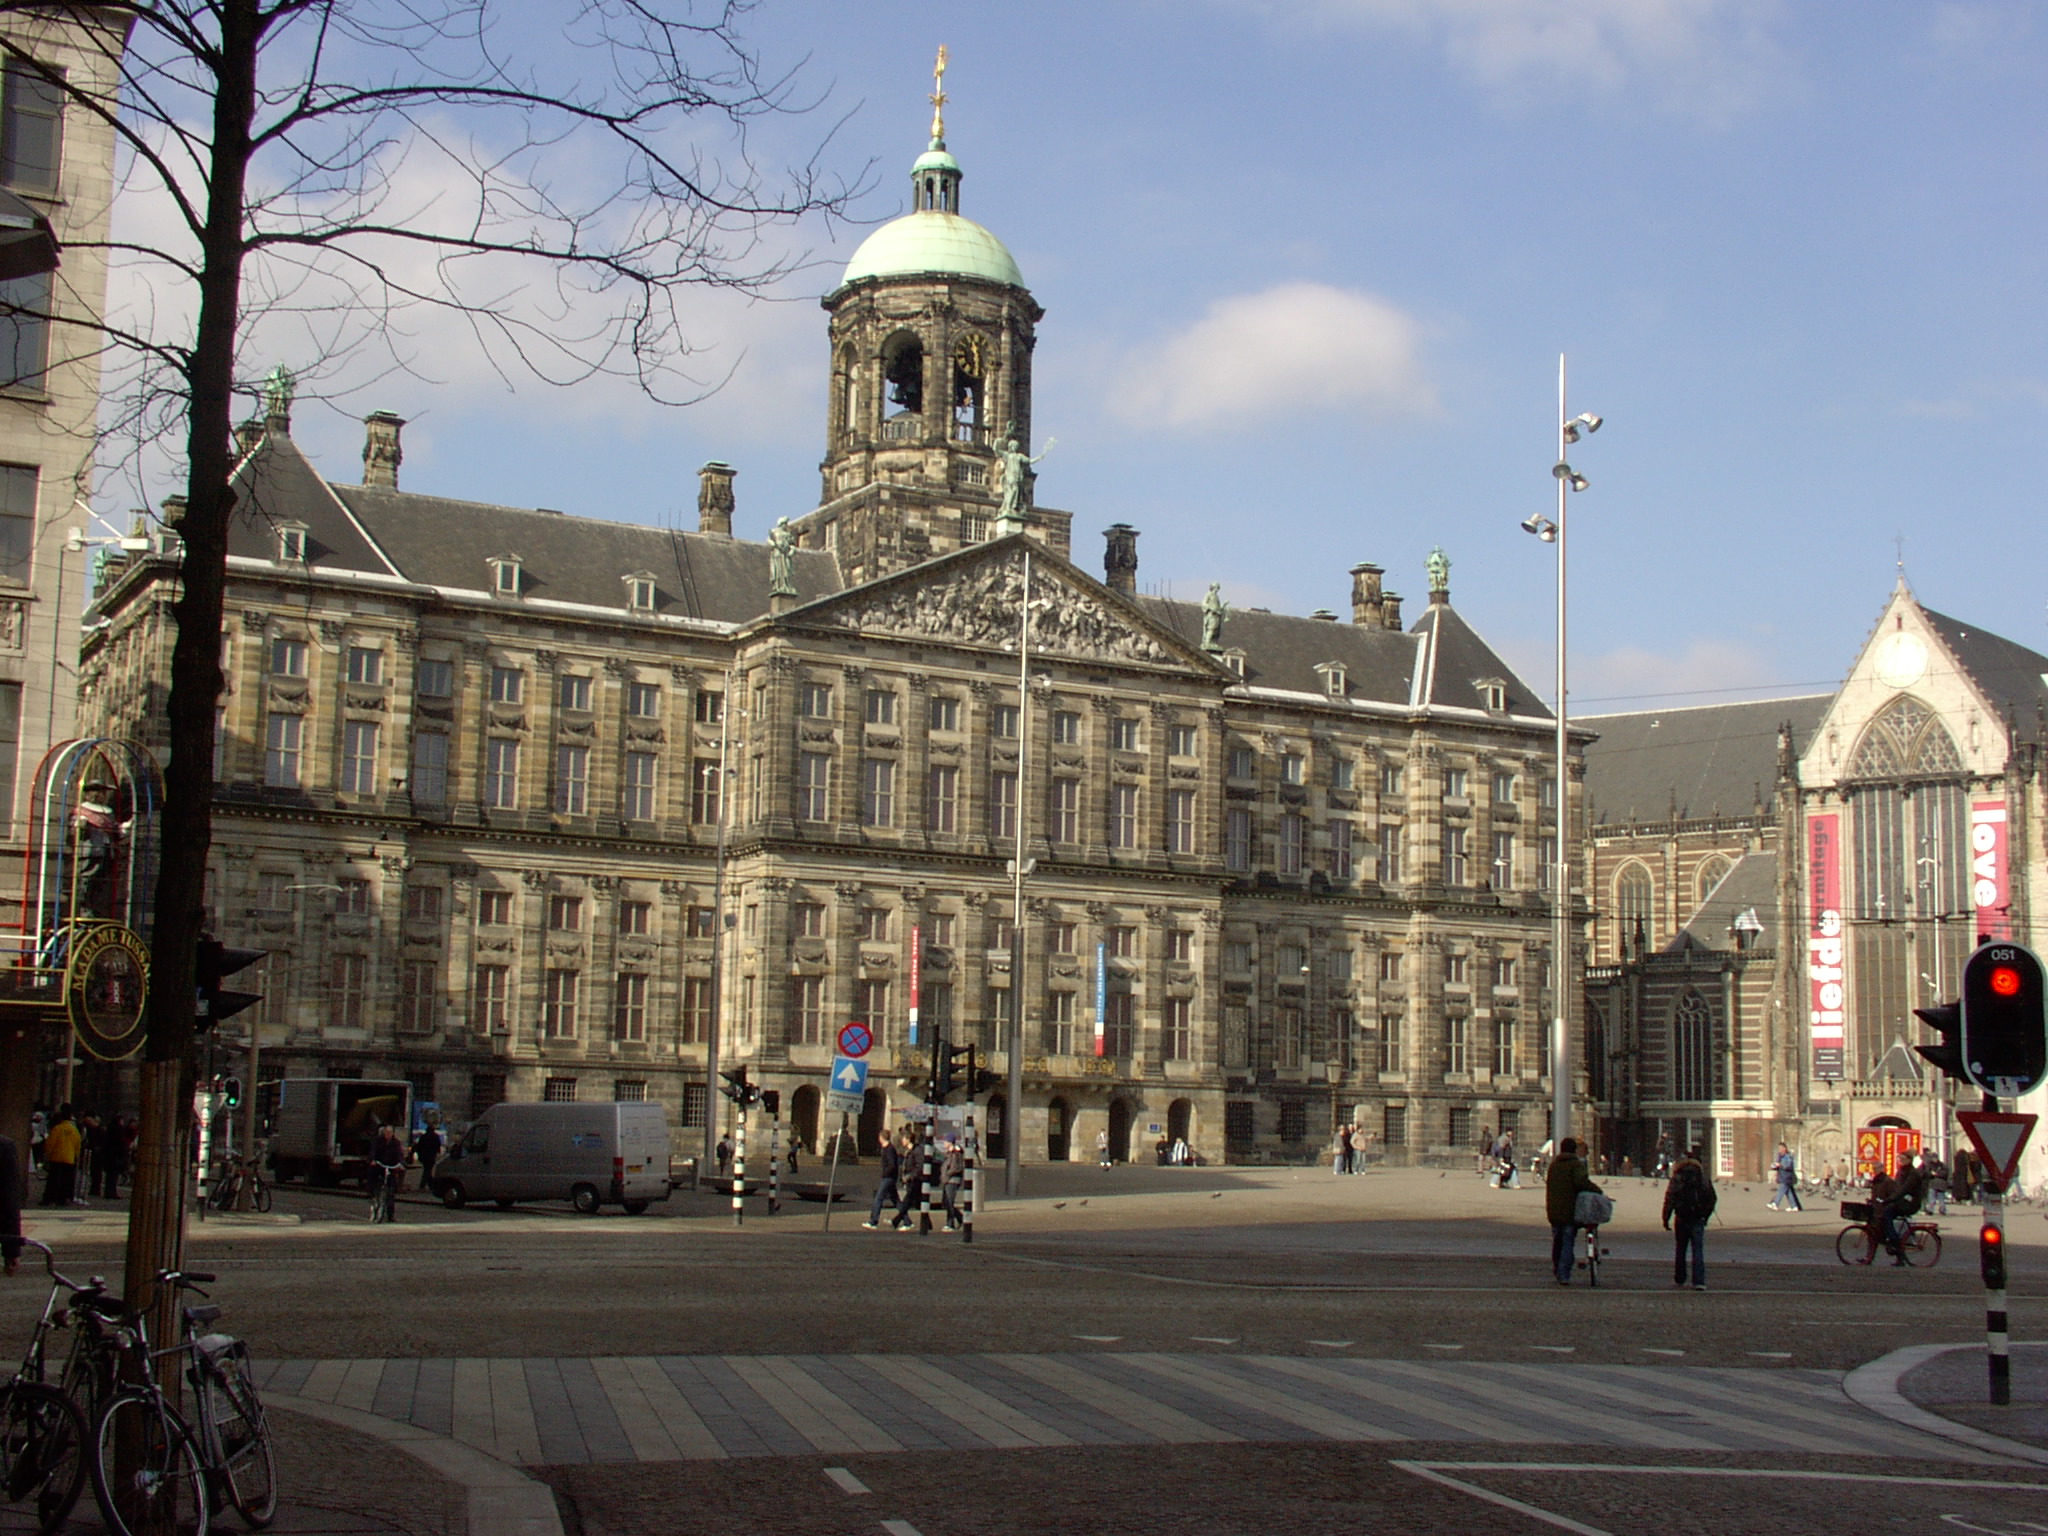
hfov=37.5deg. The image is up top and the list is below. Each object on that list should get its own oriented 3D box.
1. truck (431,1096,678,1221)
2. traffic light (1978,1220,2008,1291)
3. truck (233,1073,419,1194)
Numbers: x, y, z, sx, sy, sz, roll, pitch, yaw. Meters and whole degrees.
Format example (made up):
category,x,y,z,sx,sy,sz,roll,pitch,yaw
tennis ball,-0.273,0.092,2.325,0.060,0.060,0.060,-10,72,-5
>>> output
category,x,y,z,sx,sy,sz,roll,pitch,yaw
truck,-9.593,8.042,62.529,4.736,1.997,2.295,-2,-7,25
traffic light,9.550,4.774,29.551,0.174,0.622,0.394,-4,-11,27
truck,-16.282,8.223,69.520,3.142,3.231,5.962,6,-8,-39
